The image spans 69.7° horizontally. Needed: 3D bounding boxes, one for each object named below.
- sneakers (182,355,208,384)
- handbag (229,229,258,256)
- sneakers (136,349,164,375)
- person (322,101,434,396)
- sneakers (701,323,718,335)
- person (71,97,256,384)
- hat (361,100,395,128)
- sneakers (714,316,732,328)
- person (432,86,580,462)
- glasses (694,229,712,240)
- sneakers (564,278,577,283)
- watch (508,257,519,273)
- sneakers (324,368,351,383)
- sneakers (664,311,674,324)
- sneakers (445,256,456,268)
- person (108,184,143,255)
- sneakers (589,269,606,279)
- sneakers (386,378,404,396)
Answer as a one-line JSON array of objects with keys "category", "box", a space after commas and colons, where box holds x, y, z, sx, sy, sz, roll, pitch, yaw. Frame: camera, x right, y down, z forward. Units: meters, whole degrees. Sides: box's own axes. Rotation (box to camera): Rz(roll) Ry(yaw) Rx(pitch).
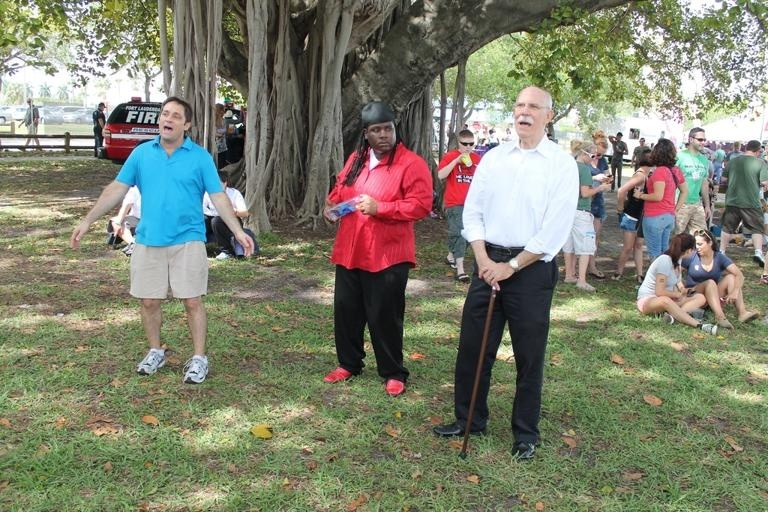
[{"category": "sneakers", "box": [-1.644, 0.987, 4.764, 0.143, 0.132, 0.301, 0, -1, -1]}, {"category": "handbag", "box": [-1.705, -0.148, 6.560, 0.115, 0.344, 0.351, -31, -18, 37]}, {"category": "sneakers", "box": [-2.049, 0.933, 4.869, 0.124, 0.137, 0.310, 1, 8, 9]}, {"category": "person", "box": [-0.066, -0.074, 4.790, 0.902, 2.515, 0.516, 2, 9, 3]}, {"category": "sneakers", "box": [3.824, 0.863, 6.476, 0.146, 0.108, 0.159, 4, 9, 13]}, {"category": "person", "box": [-1.808, -0.128, 4.712, 1.261, 2.422, 0.340, 3, 9, 6]}, {"category": "hat", "box": [-0.054, -1.198, 4.620, 0.239, 0.149, 0.235, -5, 16, 9]}, {"category": "sneakers", "box": [4.141, 0.810, 6.765, 0.163, 0.112, 0.258, -2, 9, -24]}, {"category": "person", "box": [0.918, 0.128, 4.042, 0.850, 2.711, 0.516, 5, 9, 19]}, {"category": "glasses", "box": [4.192, -0.280, 7.223, 0.212, 0.135, 0.205, -6, 11, -41]}, {"category": "sneakers", "box": [2.786, 0.366, 8.240, 0.133, 0.087, 0.073, -2, 3, 3]}, {"category": "watch", "box": [0.921, 0.061, 3.951, 0.069, 0.105, 0.100, -17, 18, 20]}, {"category": "sneakers", "box": [-0.435, 1.074, 4.941, 0.208, 0.079, 0.105, 4, -6, -44]}, {"category": "sneakers", "box": [3.474, 0.760, 6.715, 0.109, 0.121, 0.119, 6, 10, 27]}, {"category": "sneakers", "box": [1.046, 0.099, 8.681, 0.165, 0.171, 0.415, -2, 4, -8]}, {"category": "person", "box": [-3.961, -0.473, 8.544, 0.576, 0.958, 0.388, 6, 37, -32]}, {"category": "sneakers", "box": [3.364, 0.295, 8.725, 0.117, 0.074, 0.208, -9, 9, -28]}, {"category": "sneakers", "box": [0.089, 1.152, 4.784, 0.138, 0.089, 0.273, 0, -2, 3]}]
